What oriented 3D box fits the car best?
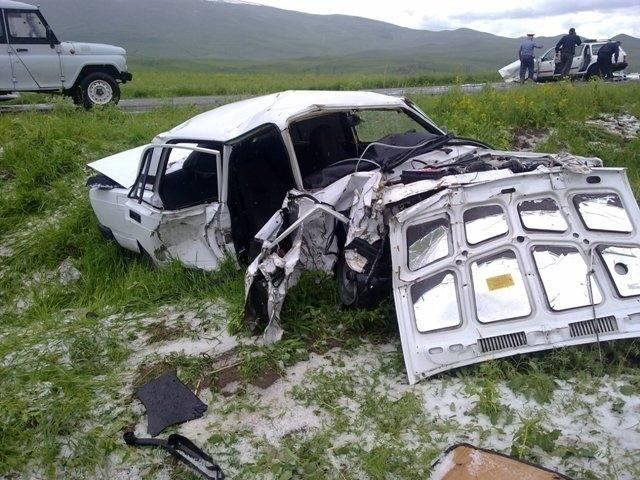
[{"bbox_3d":[8.785,-5.825,15.276,2.857,1.202,1.710,12,45,27],"label":"car"}]

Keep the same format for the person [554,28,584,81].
[{"bbox_3d":[7.829,-5.946,14.131,0.692,1.517,1.356,15,35,25],"label":"person"}]

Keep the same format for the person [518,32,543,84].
[{"bbox_3d":[6.790,-5.904,14.408,0.646,1.596,1.900,12,35,22],"label":"person"}]

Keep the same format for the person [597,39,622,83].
[{"bbox_3d":[9.563,-6.057,14.787,0.618,1.090,0.680,17,36,28],"label":"person"}]
